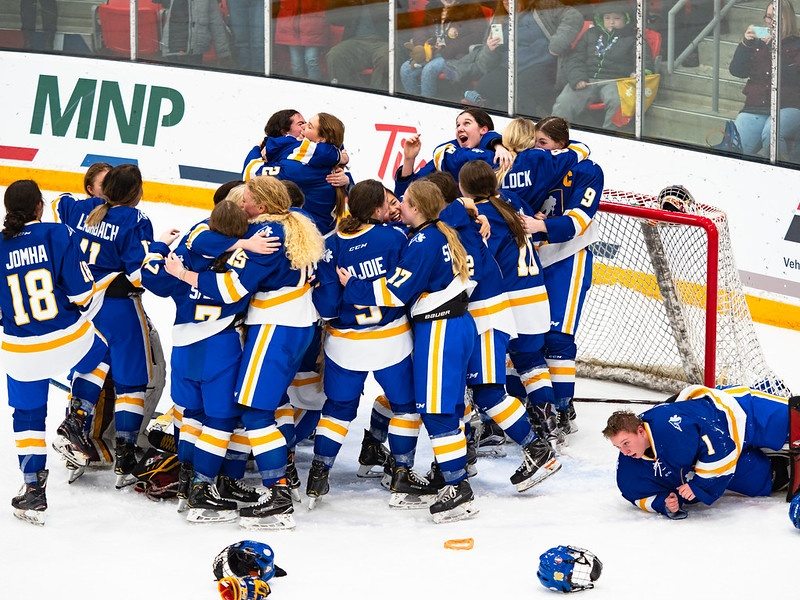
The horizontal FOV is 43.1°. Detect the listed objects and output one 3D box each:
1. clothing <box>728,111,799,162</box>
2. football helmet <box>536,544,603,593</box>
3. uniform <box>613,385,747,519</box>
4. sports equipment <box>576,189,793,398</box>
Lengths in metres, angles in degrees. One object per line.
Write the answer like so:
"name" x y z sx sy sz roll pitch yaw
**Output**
"clothing" 2.916 -1.347 8.048 0.292 0.516 0.185 5 18 21
"football helmet" 0.803 1.246 4.714 0.245 0.192 0.178 5 -19 1
"uniform" 1.485 0.827 5.482 0.764 0.625 0.338 0 14 2
"sports equipment" 1.847 -0.070 7.167 1.010 1.517 1.721 -1 14 -1
